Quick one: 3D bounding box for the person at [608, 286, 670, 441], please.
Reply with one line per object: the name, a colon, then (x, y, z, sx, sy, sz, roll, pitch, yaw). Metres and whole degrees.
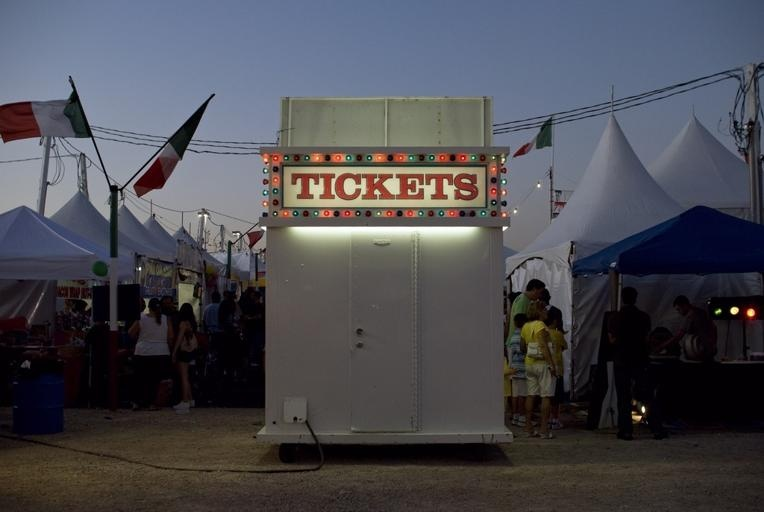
person: (4.832, 2.034, 15.224, 0.868, 2.881, 0.520, -2, -10, 15)

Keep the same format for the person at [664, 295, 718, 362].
person: (6.381, 1.481, 16.348, 0.830, 1.384, 0.598, -1, -9, 12)

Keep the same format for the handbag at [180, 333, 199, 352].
handbag: (-4.317, 1.951, 17.937, 0.234, 0.385, 0.381, 6, -5, -12)

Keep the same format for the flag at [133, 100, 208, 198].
flag: (-4.794, -2.322, 17.970, 1.600, 1.822, 0.559, -6, -11, 35)

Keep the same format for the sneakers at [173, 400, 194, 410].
sneakers: (-4.422, 3.352, 17.809, 0.426, 0.189, 0.158, 0, 0, -3)

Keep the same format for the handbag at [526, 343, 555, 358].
handbag: (2.875, 1.771, 14.715, 0.382, 0.265, 0.295, -2, -11, 19)

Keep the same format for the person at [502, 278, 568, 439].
person: (2.913, 1.935, 15.240, 0.889, 3.058, 1.343, 0, -9, 8)
